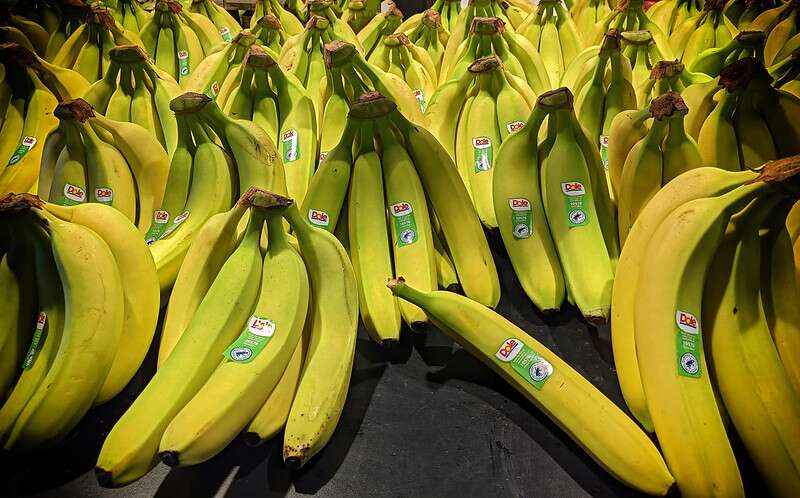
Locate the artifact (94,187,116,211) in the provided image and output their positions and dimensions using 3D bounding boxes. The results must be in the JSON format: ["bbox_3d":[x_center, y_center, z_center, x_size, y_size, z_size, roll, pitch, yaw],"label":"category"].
[{"bbox_3d":[-1.180,-0.201,2.624,0.066,0.096,0.022,-4,4,2],"label":"artifact"}]

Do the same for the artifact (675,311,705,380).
[{"bbox_3d":[0.946,0.307,2.168,0.087,0.187,0.136,3,19,19],"label":"artifact"}]

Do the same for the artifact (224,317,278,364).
[{"bbox_3d":[-0.489,0.298,2.166,0.101,0.039,0.173,20,69,29],"label":"artifact"}]

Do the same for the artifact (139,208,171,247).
[{"bbox_3d":[-0.950,-0.088,2.588,0.054,0.056,0.189,6,62,20],"label":"artifact"}]

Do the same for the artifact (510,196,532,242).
[{"bbox_3d":[0.464,-0.115,2.553,0.112,0.026,0.230,-3,59,12],"label":"artifact"}]

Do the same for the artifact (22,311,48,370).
[{"bbox_3d":[-1.239,0.316,2.276,0.058,0.040,0.251,0,76,24],"label":"artifact"}]
